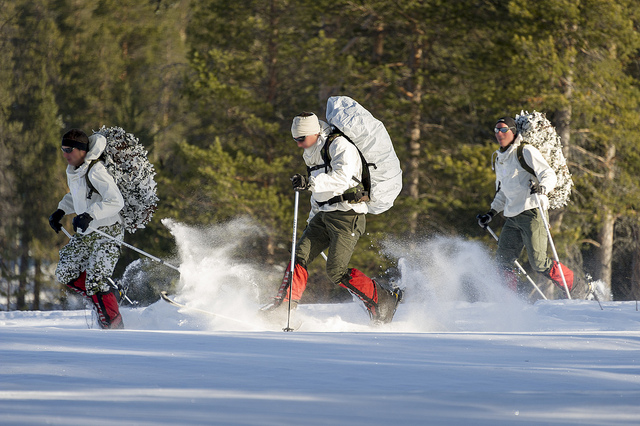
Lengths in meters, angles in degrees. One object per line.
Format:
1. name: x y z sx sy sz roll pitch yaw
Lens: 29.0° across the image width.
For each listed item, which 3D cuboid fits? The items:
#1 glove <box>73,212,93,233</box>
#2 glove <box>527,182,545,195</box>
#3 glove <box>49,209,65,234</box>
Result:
1. glove: -3.998 0.136 21.049 0.329 0.351 0.220 -3 15 -11
2. glove: 3.830 -0.472 22.083 0.194 0.178 0.373 -4 14 -15
3. glove: -4.569 0.120 21.658 0.236 0.409 0.170 3 -4 -38
